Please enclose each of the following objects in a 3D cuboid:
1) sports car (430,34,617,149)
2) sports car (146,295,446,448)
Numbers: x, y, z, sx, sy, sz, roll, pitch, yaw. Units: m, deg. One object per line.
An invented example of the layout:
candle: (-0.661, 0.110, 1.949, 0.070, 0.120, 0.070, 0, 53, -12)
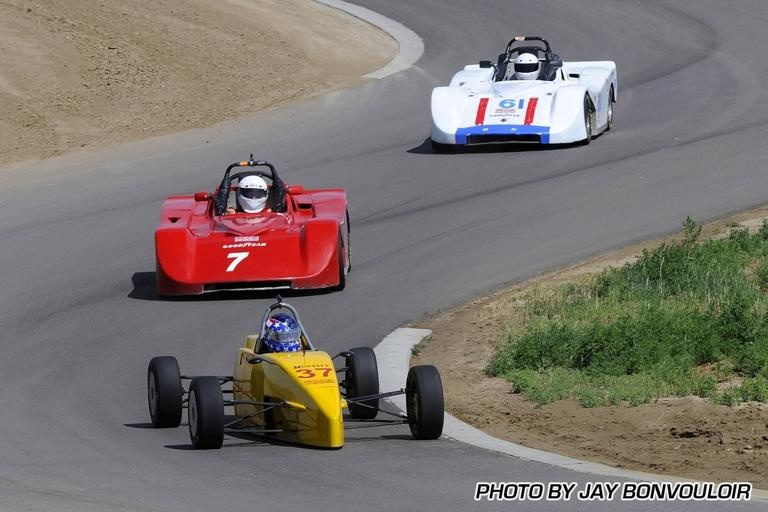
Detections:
sports car: (3.485, -3.995, 32.075, 3.593, 2.397, 4.339, 12, 29, 37)
sports car: (-1.417, 1.947, 19.518, 4.358, 2.105, 1.855, -5, 25, 4)
